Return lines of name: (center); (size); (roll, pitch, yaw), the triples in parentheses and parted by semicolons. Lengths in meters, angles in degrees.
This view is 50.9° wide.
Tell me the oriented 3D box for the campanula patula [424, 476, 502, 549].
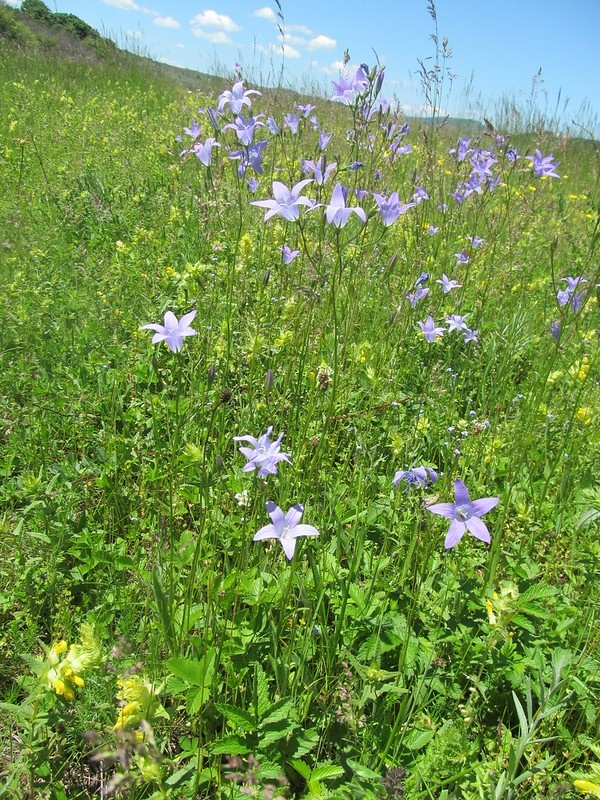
campanula patula: (0.461, 0.307, 1.816); (0.181, 0.181, 0.227); (17, 25, 14)
